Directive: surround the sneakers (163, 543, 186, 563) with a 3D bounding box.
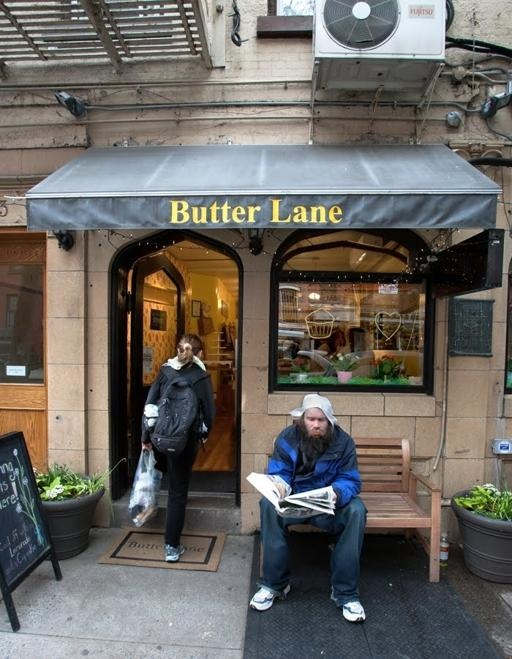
[{"bbox_3d":[-0.654,1.765,5.102,0.080,0.095,0.212,0,3,6],"label":"sneakers"}]

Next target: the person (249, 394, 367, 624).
[{"bbox_3d":[0.415,1.231,4.590,0.810,1.377,0.747,3,14,9],"label":"person"}]

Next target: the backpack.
[{"bbox_3d":[-0.614,0.581,5.075,0.489,0.630,0.631,6,14,19],"label":"backpack"}]

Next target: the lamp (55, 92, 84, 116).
[{"bbox_3d":[-1.655,-2.003,5.741,0.250,0.200,0.354,-3,14,-14],"label":"lamp"}]

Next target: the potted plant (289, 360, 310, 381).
[{"bbox_3d":[0.399,0.372,5.916,0.168,0.190,0.110,2,14,4],"label":"potted plant"}]

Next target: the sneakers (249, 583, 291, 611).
[{"bbox_3d":[0.094,1.901,4.585,0.111,0.132,0.315,5,-5,41],"label":"sneakers"}]

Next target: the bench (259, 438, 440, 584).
[{"bbox_3d":[0.793,1.315,5.030,1.156,0.824,0.723,2,2,1],"label":"bench"}]

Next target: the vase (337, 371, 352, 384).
[{"bbox_3d":[0.805,0.438,5.870,0.110,0.081,0.111,1,-13,20],"label":"vase"}]

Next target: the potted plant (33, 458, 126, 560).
[{"bbox_3d":[-1.473,1.487,5.398,0.852,0.579,0.617,-12,-6,-26],"label":"potted plant"}]

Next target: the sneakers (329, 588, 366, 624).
[{"bbox_3d":[0.644,1.921,4.420,0.098,0.103,0.260,10,-7,-17],"label":"sneakers"}]
